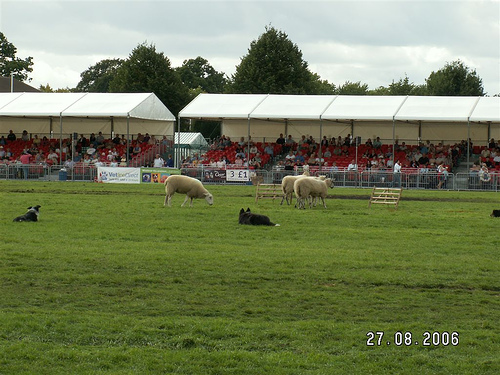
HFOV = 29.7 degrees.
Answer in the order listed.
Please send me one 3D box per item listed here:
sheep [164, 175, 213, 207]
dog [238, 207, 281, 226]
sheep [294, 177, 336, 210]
[{"bbox_3d":[-2.541,0.051,39.345,2.576,1.855,0.884,4,5,-8],"label":"sheep"},{"bbox_3d":[0.222,1.067,33.738,1.699,0.796,0.520,10,7,33],"label":"dog"},{"bbox_3d":[2.686,0.266,39.284,2.372,1.307,0.744,1,3,-45],"label":"sheep"}]
